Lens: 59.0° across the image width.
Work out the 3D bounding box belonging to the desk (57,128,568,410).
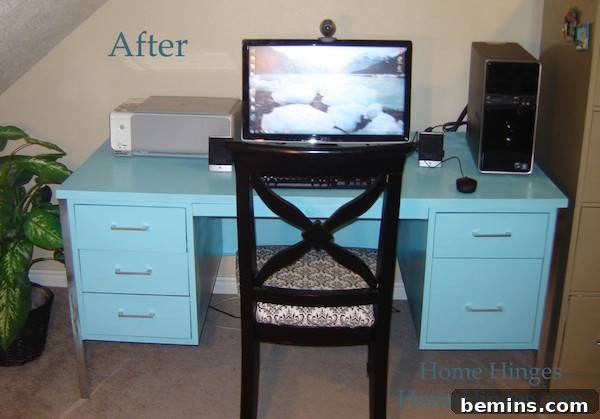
[{"bbox_3d":[0.009,-0.193,3.607,3.107,1.655,1.129,0,16,0],"label":"desk"}]

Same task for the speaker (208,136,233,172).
[{"bbox_3d":[-0.354,-0.246,2.332,0.110,0.154,0.084,0,3,-11],"label":"speaker"}]

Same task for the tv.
[{"bbox_3d":[0.114,-0.523,2.373,0.749,0.463,0.065,1,8,3],"label":"tv"}]

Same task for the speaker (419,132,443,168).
[{"bbox_3d":[0.573,-0.262,2.371,0.110,0.152,0.113,1,4,-2],"label":"speaker"}]

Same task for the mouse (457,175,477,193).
[{"bbox_3d":[0.677,-0.099,2.129,0.100,0.055,0.072,-2,23,-4],"label":"mouse"}]
